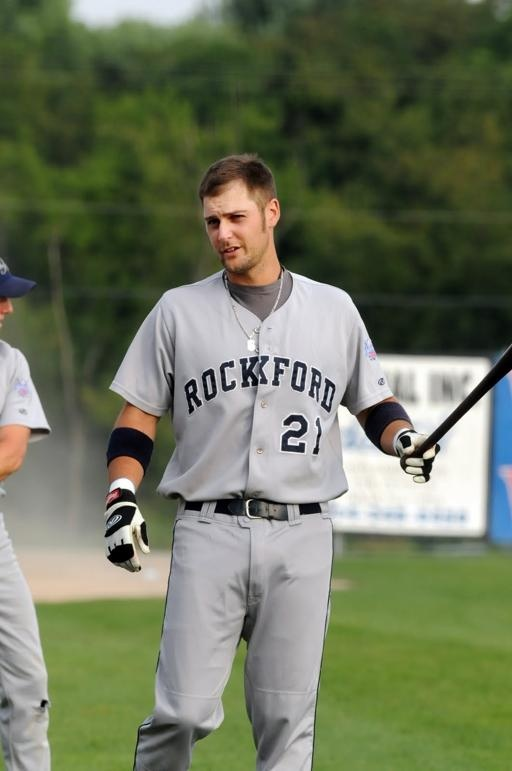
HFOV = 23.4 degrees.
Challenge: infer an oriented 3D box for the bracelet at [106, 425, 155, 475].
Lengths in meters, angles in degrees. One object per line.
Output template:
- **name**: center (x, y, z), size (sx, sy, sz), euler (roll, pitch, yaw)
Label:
- **bracelet**: center (-0.401, 0.202, 3.984), size (0.125, 0.155, 0.122), euler (-6, 10, -29)

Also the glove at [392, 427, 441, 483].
- **glove**: center (0.520, 0.236, 4.020), size (0.119, 0.178, 0.140), euler (0, 6, -12)

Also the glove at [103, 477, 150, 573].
- **glove**: center (-0.395, 0.444, 3.800), size (0.127, 0.295, 0.263), euler (-1, 1, -5)
